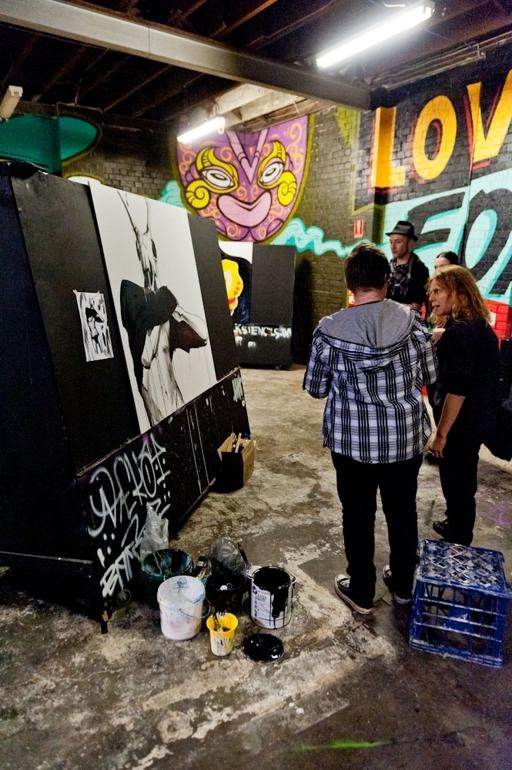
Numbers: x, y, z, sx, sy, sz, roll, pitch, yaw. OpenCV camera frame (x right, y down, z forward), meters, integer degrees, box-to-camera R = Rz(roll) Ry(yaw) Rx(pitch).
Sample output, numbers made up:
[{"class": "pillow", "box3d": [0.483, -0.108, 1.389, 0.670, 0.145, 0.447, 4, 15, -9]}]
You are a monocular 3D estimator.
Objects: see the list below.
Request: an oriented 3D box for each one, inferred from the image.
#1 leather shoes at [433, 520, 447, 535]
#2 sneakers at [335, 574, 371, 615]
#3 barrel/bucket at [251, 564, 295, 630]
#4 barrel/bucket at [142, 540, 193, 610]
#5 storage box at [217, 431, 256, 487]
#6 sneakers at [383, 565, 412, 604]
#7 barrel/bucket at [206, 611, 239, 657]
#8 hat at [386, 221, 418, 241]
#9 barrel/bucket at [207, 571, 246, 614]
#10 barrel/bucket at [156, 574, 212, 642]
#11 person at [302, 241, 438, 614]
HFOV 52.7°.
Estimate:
[{"class": "leather shoes", "box3d": [1.163, 0.895, 3.243, 0.089, 0.043, 0.129, -3, 50, 19]}, {"class": "sneakers", "box3d": [0.482, 1.036, 2.543, 0.073, 0.081, 0.203, -3, 23, -17]}, {"class": "barrel/bucket", "box3d": [0.075, 0.985, 2.389, 0.189, 0.207, 0.188, 2, 10, 0]}, {"class": "barrel/bucket", "box3d": [-0.436, 0.915, 2.497, 0.226, 0.182, 0.235, 0, 12, 0]}, {"class": "storage box", "box3d": [-0.160, 0.581, 3.896, 0.189, 0.346, 0.402, 4, 13, 14]}, {"class": "sneakers", "box3d": [0.705, 1.009, 2.582, 0.058, 0.072, 0.181, -2, 17, -2]}, {"class": "barrel/bucket", "box3d": [-0.137, 1.066, 2.221, 0.148, 0.124, 0.150, 0, 9, 0]}, {"class": "hat", "box3d": [1.328, -1.403, 4.649, 0.188, 0.177, 0.359, 6, 14, 21]}, {"class": "barrel/bucket", "box3d": [-0.138, 0.985, 2.473, 0.163, 0.127, 0.167, 3, 3, 0]}, {"class": "barrel/bucket", "box3d": [-0.335, 1.006, 2.334, 0.227, 0.209, 0.213, 2, 16, -1]}, {"class": "person", "box3d": [0.477, 0.276, 2.232, 0.568, 1.705, 0.377, 2, 13, 6]}]
